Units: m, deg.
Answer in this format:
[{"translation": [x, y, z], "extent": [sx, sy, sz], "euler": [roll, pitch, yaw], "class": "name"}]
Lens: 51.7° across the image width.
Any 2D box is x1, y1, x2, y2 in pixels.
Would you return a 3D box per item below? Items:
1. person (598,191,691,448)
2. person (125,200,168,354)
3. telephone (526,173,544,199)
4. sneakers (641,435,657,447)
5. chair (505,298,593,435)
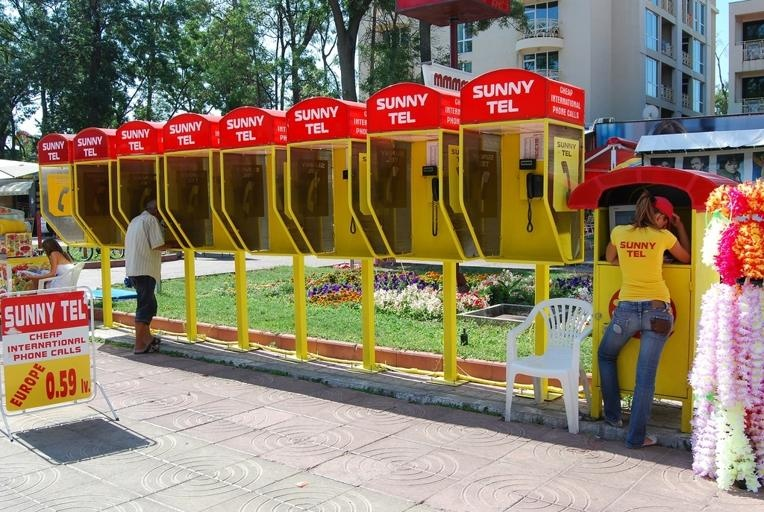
[{"translation": [2.994, 0.711, 9.190], "extent": [0.846, 2.768, 1.061], "euler": [6, 17, 28], "class": "person"}, {"translation": [-3.742, 0.417, 12.679], "extent": [0.654, 2.120, 0.809], "euler": [-7, 16, -16], "class": "person"}, {"translation": [2.013, -0.885, 10.340], "extent": [0.160, 0.338, 0.289], "euler": [-6, 15, -14], "class": "telephone"}, {"translation": [3.089, 2.112, 9.097], "extent": [0.230, 0.084, 0.075], "euler": [-12, 14, -43], "class": "sneakers"}, {"translation": [2.085, 1.283, 9.851], "extent": [1.004, 1.395, 1.062], "euler": [3, 16, 17], "class": "chair"}]
